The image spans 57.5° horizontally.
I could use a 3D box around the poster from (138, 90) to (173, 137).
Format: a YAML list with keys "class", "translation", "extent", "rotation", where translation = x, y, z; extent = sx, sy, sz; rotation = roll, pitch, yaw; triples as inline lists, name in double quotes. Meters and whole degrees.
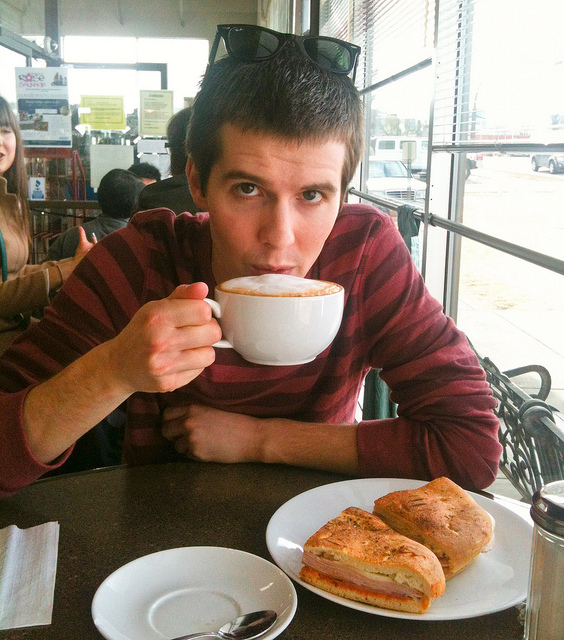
- class: "poster"
  translation: [-1.483, -2.434, 6.058]
  extent: [0.397, 0.527, 0.340]
  rotation: [-2, 17, -9]

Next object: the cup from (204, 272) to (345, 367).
- class: "cup"
  translation: [-0.010, -0.005, 0.661]
  extent: [0.163, 0.083, 0.105]
  rotation: [3, 6, 28]

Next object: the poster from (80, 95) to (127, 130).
- class: "poster"
  translation: [-1.957, -2.265, 5.623]
  extent: [0.469, 0.367, 0.248]
  rotation: [-5, 18, -19]

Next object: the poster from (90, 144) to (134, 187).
- class: "poster"
  translation: [-1.859, -1.687, 5.642]
  extent: [0.490, 0.439, 0.186]
  rotation: [-7, 18, -23]

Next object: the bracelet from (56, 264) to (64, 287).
- class: "bracelet"
  translation: [-1.216, -0.248, 2.820]
  extent: [0.031, 0.099, 0.119]
  rotation: [-8, 19, -28]

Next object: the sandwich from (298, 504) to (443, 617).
- class: "sandwich"
  translation: [0.102, 0.269, 0.592]
  extent: [0.161, 0.048, 0.183]
  rotation: [3, -1, -16]
